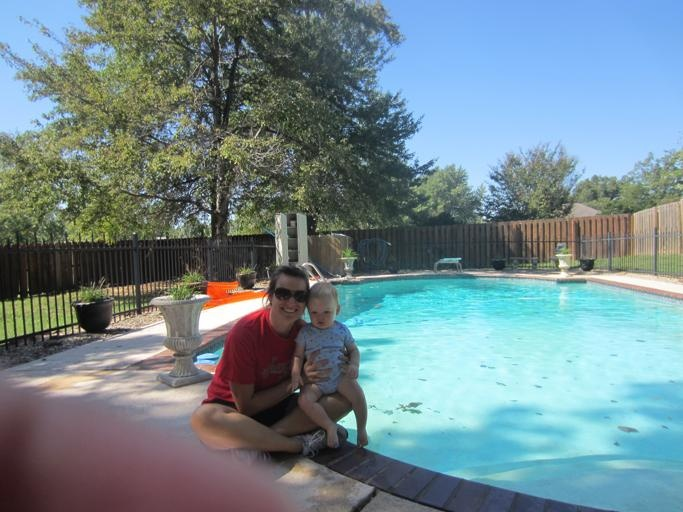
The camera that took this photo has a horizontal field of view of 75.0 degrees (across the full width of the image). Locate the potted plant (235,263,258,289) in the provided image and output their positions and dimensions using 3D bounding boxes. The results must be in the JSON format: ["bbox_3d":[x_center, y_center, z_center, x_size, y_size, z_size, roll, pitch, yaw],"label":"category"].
[{"bbox_3d":[-3.066,0.690,13.757,0.613,0.787,0.647,0,-3,6],"label":"potted plant"}]

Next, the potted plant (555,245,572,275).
[{"bbox_3d":[7.919,0.211,15.755,0.480,0.941,0.514,0,-5,34],"label":"potted plant"}]

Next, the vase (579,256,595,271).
[{"bbox_3d":[9.560,0.313,17.295,0.507,0.403,0.502,-3,0,-39],"label":"vase"}]

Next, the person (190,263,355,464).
[{"bbox_3d":[-0.556,0.838,3.625,1.346,1.448,0.999,4,-5,-38],"label":"person"}]

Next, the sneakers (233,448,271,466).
[{"bbox_3d":[-0.680,1.531,3.401,0.194,0.064,0.146,16,-1,-20],"label":"sneakers"}]

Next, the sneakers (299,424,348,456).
[{"bbox_3d":[-0.155,1.514,3.643,0.313,0.195,0.135,-19,-34,-10],"label":"sneakers"}]

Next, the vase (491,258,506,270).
[{"bbox_3d":[7.066,0.376,20.000,0.555,0.545,0.472,-2,6,9],"label":"vase"}]

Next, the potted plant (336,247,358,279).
[{"bbox_3d":[0.175,0.294,18.753,1.006,1.438,1.081,-3,-5,39],"label":"potted plant"}]
